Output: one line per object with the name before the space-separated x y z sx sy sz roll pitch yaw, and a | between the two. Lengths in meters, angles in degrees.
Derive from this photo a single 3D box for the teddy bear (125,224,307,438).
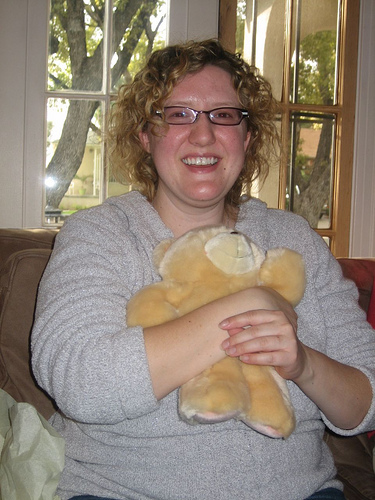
teddy bear | 0.032 0.095 0.600 0.249 0.248 0.260 6 8 15
